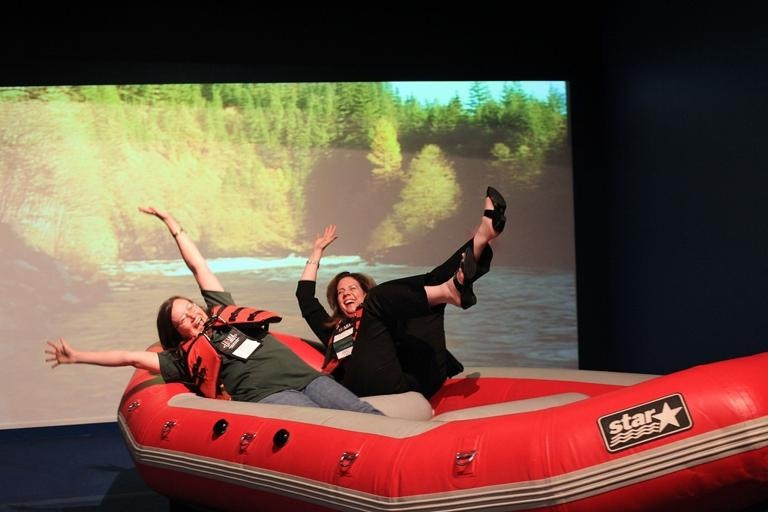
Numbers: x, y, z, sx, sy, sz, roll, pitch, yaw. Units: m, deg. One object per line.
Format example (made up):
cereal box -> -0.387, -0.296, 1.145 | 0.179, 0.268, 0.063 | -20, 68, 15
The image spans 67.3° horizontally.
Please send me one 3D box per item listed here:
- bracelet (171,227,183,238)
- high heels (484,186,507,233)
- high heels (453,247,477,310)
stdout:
bracelet -> -1.276, -0.146, 3.553 | 0.072, 0.020, 0.067 | -22, 16, -20
high heels -> 0.540, -0.235, 2.837 | 0.122, 0.243, 0.108 | -3, -15, 8
high heels -> 0.386, 0.100, 2.720 | 0.121, 0.269, 0.137 | -6, 4, -28
